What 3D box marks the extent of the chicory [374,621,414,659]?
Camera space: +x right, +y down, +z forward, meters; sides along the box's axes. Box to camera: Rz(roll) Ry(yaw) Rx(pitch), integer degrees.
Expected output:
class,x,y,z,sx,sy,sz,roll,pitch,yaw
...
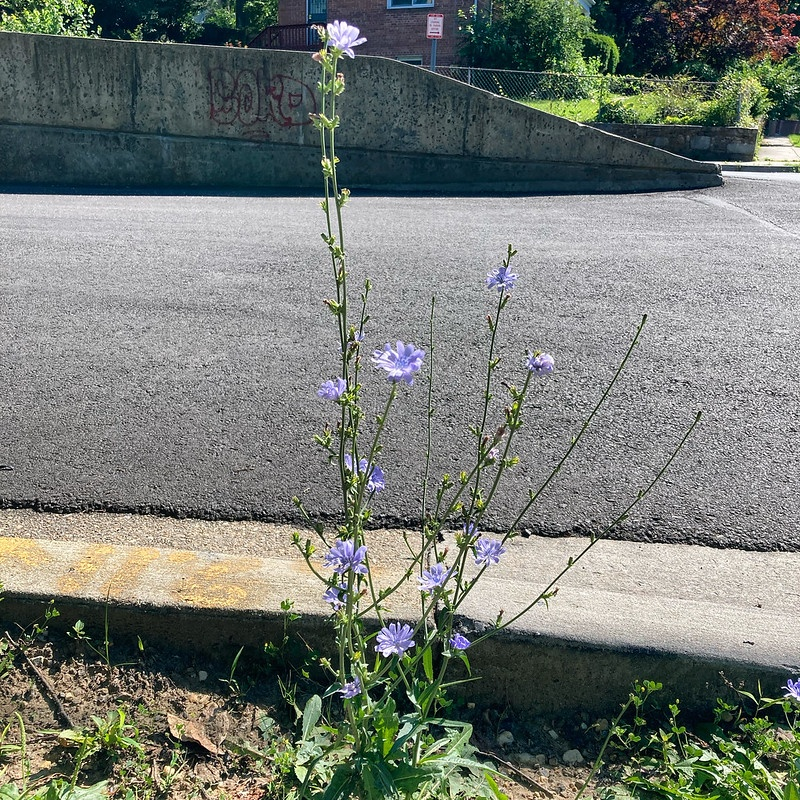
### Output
class,x,y,z,sx,sy,sz,roll,pitch,yaw
chicory,-0.020,0.855,4.310,0.130,0.136,0.067,-32,-14,-4

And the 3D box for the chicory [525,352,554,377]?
class,x,y,z,sx,sy,sz,roll,pitch,yaw
chicory,0.485,-0.125,4.331,0.078,0.094,0.055,-1,-11,16

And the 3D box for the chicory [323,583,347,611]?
class,x,y,z,sx,sy,sz,roll,pitch,yaw
chicory,-0.222,0.691,4.314,0.081,0.040,0.096,-1,55,11

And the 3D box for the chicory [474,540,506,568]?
class,x,y,z,sx,sy,sz,roll,pitch,yaw
chicory,0.311,0.540,4.434,0.095,0.115,0.041,20,-2,-11

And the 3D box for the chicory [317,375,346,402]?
class,x,y,z,sx,sy,sz,roll,pitch,yaw
chicory,-0.228,-0.052,4.219,0.075,0.047,0.097,-14,55,5

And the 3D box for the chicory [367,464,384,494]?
class,x,y,z,sx,sy,sz,roll,pitch,yaw
chicory,-0.095,0.297,4.444,0.047,0.112,0.093,-5,7,17
